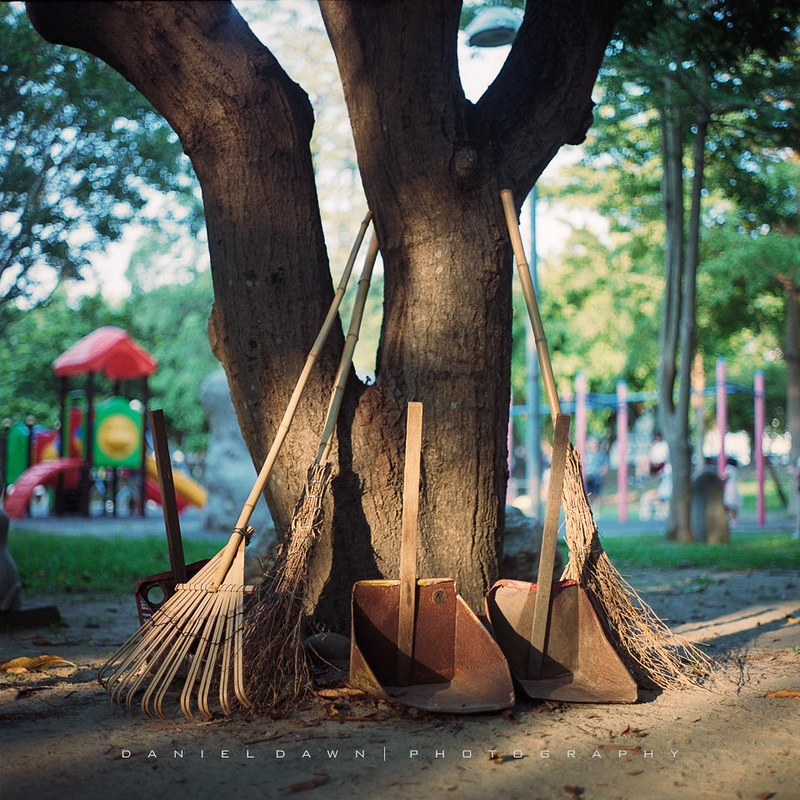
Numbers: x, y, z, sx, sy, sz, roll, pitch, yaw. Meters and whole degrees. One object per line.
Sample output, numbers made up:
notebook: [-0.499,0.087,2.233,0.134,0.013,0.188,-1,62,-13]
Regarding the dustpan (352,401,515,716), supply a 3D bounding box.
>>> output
dustpan: [0.126,0.651,4.476,0.659,1.052,0.668,3,2,-37]
